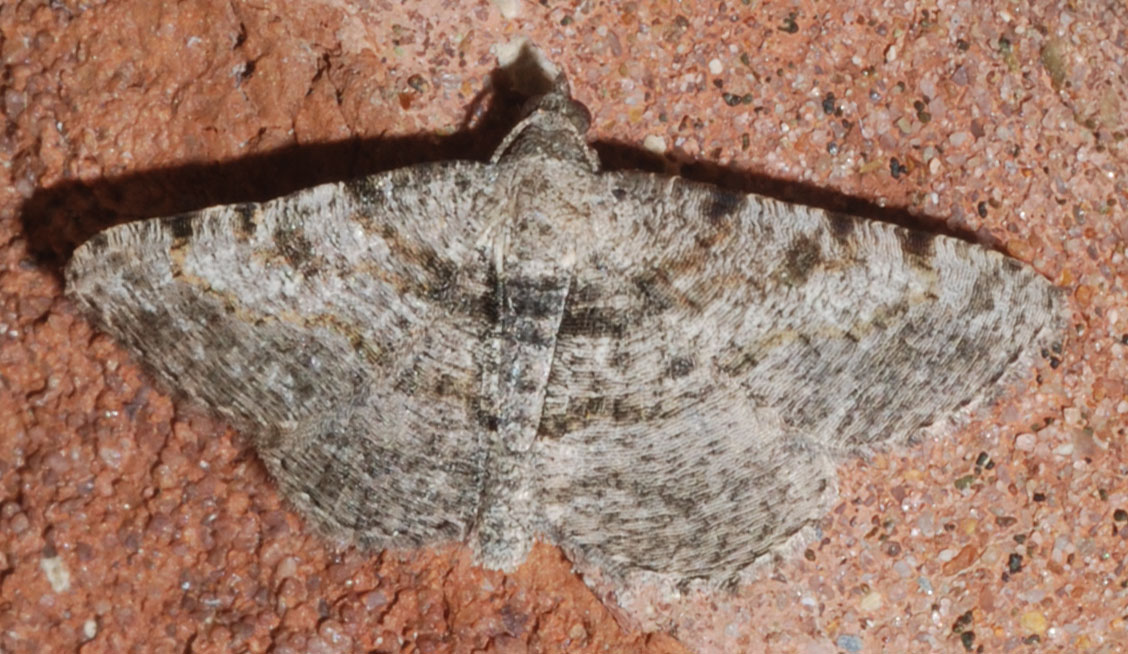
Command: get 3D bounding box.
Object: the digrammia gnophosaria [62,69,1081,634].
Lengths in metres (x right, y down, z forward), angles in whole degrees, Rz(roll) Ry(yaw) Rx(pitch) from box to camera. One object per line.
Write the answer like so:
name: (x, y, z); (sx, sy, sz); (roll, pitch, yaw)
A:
digrammia gnophosaria: (-0.077, 0.002, 4.735); (2.756, 0.799, 1.354); (3, 101, -2)
